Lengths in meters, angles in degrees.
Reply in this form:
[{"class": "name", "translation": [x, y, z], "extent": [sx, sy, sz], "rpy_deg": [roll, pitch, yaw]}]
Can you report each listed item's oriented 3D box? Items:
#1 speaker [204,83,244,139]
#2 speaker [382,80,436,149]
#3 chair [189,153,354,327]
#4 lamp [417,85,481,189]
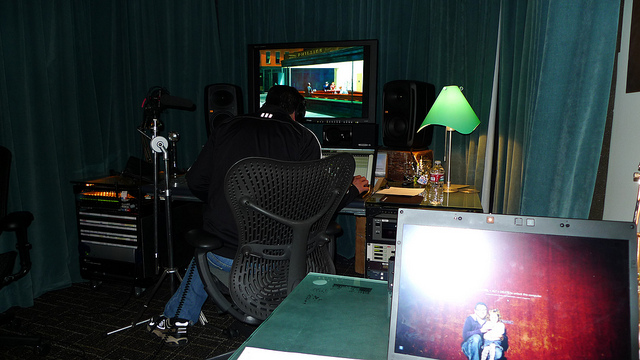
[{"class": "speaker", "translation": [-1.007, -0.732, 4.761], "extent": [0.405, 0.517, 0.189], "rpy_deg": [2, 8, -1]}, {"class": "speaker", "translation": [0.845, -0.618, 4.523], "extent": [0.368, 0.605, 0.390], "rpy_deg": [4, 1, 41]}, {"class": "chair", "translation": [-0.401, 0.625, 3.718], "extent": [1.202, 1.669, 1.098], "rpy_deg": [-4, 8, -33]}, {"class": "lamp", "translation": [1.172, -0.386, 4.169], "extent": [0.592, 0.908, 0.564], "rpy_deg": [1, 3, 7]}]
